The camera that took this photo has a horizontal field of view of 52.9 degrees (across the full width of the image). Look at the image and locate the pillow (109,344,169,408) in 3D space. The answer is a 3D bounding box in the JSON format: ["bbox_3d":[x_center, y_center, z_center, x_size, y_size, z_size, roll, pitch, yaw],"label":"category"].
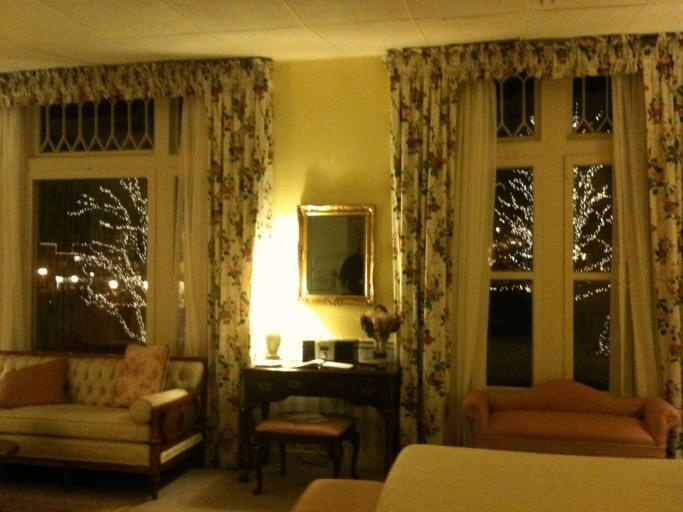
[{"bbox_3d":[-1.714,1.011,5.947,0.464,0.537,0.184,-6,-27,30],"label":"pillow"}]

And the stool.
[{"bbox_3d":[-0.283,1.658,5.734,0.749,0.630,0.621,0,-2,15],"label":"stool"}]

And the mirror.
[{"bbox_3d":[-0.021,0.015,6.200,0.783,1.118,0.107,1,2,11],"label":"mirror"}]
